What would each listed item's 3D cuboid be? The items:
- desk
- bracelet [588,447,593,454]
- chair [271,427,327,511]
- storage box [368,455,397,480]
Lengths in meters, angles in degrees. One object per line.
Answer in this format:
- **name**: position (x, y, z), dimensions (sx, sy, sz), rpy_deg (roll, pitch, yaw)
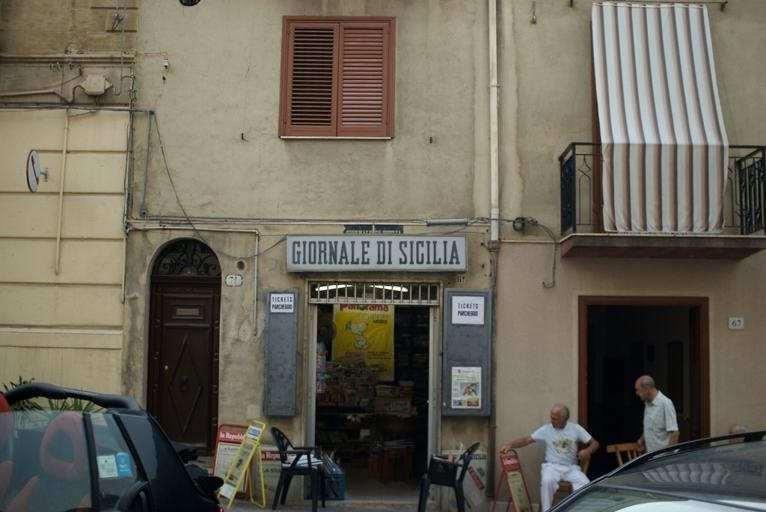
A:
- **desk**: position (-0.144, 3.172, 21.733), dimensions (1.279, 0.818, 1.316), rpy_deg (-3, -8, 32)
- **bracelet**: position (3.252, 3.043, 19.618), dimensions (0.065, 0.051, 0.067), rpy_deg (3, 9, 7)
- **chair**: position (-1.339, 3.385, 19.973), dimensions (0.853, 1.301, 0.909), rpy_deg (1, -7, 0)
- **storage box**: position (-0.015, 3.533, 21.403), dimensions (0.372, 0.512, 0.506), rpy_deg (3, -4, -36)
